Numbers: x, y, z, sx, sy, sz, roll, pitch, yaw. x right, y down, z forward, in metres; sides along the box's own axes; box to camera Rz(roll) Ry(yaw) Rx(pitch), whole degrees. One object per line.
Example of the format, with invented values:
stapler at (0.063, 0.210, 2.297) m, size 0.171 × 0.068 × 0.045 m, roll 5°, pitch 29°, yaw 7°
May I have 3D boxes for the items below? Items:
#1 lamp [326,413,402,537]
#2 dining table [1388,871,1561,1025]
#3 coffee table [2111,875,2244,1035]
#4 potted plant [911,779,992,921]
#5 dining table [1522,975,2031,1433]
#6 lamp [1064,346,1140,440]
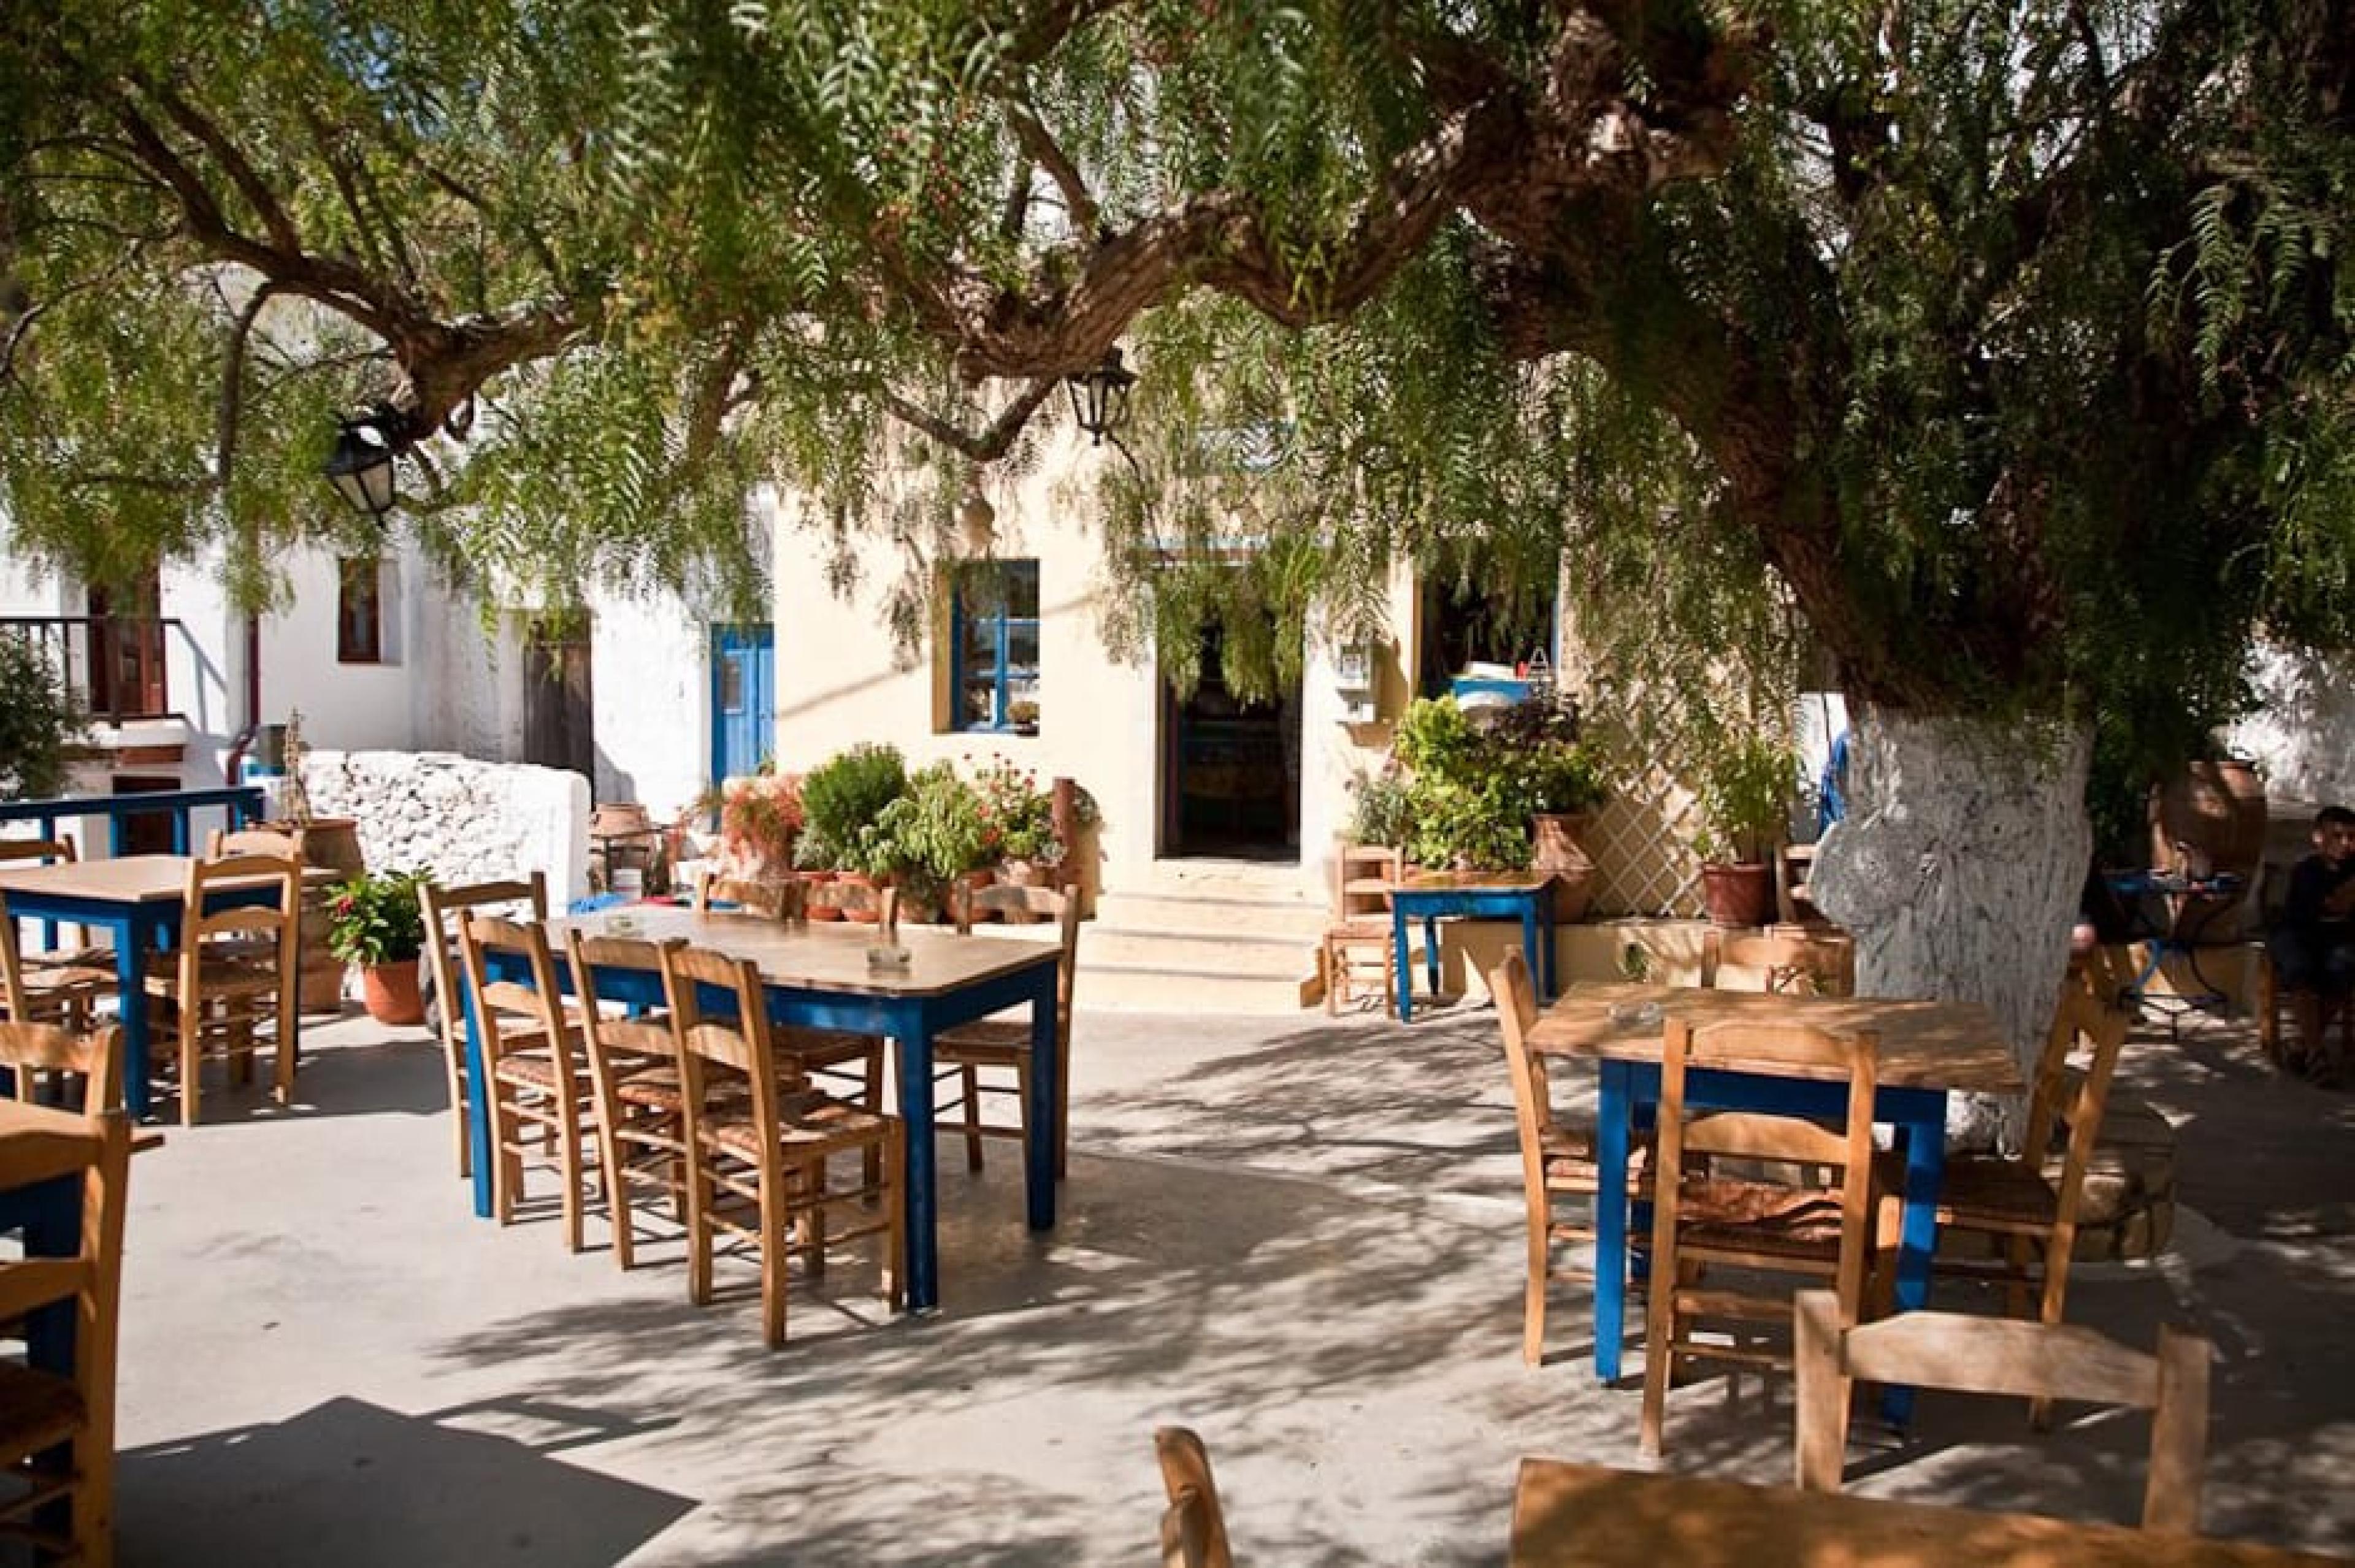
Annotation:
lamp at (-2.612, -1.006, 5.679) m, size 0.128 × 0.138 × 0.255 m, roll 7°, pitch -18°, yaw -15°
dining table at (1.794, 1.049, 10.695) m, size 0.849 × 0.802 × 0.887 m, roll 0°, pitch 6°, yaw 11°
coffee table at (5.762, 1.002, 10.208) m, size 0.700 × 0.816 × 0.682 m, roll -3°, pitch 9°, yaw -17°
potted plant at (-1.572, 0.454, 12.661) m, size 0.689 × 0.993 × 0.869 m, roll 3°, pitch 3°, yaw 8°
dining table at (1.714, 1.258, 5.389) m, size 0.853 × 1.564 × 0.989 m, roll 2°, pitch -32°, yaw 23°
lamp at (-0.259, -1.421, 6.524) m, size 0.277 × 0.430 × 0.312 m, roll 3°, pitch 5°, yaw 12°
